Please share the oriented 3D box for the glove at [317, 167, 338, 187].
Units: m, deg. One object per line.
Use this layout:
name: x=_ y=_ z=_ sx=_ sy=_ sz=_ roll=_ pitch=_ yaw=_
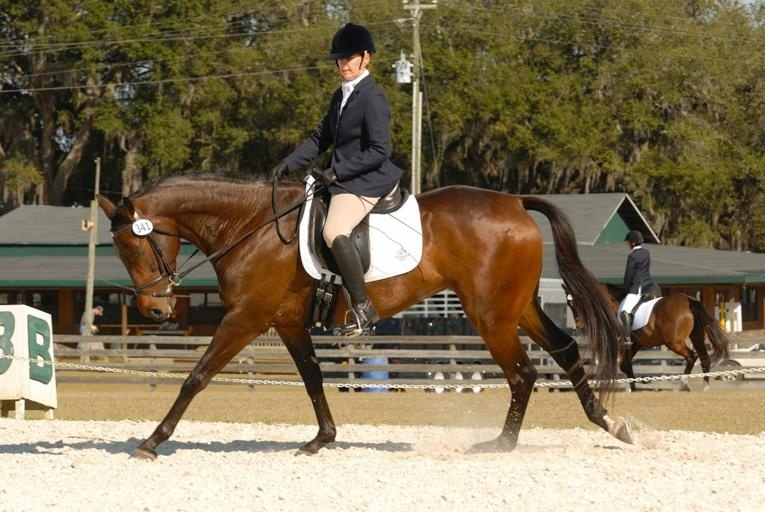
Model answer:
glove: x=-1.649 y=-2.354 z=43.051 sx=0.580 sy=0.502 sz=0.172 roll=5 pitch=3 yaw=-6
